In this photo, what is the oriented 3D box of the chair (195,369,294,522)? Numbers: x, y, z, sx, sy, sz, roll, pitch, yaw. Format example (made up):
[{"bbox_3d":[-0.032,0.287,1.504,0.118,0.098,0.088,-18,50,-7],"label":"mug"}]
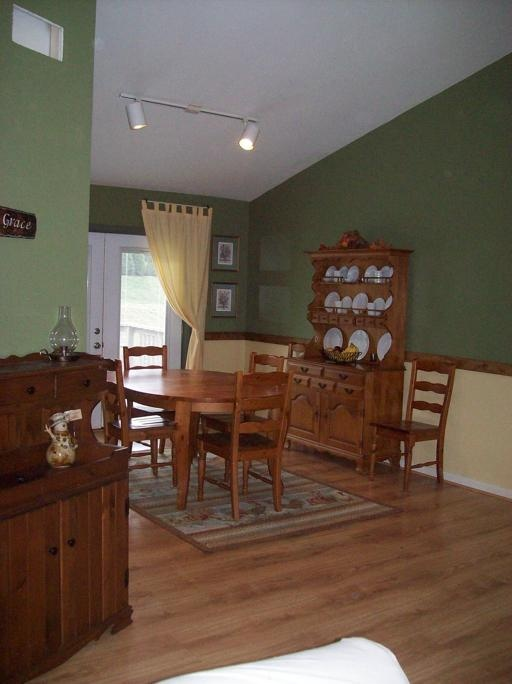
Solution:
[{"bbox_3d":[-0.080,0.654,3.866,0.669,0.971,1.438,2,1,-4],"label":"chair"}]

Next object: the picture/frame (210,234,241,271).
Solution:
[{"bbox_3d":[-0.399,-1.133,6.576,0.512,0.525,0.045,-2,2,-40],"label":"picture/frame"}]

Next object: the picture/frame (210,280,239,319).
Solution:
[{"bbox_3d":[-0.413,-0.553,6.619,0.510,0.564,0.045,-2,7,-41],"label":"picture/frame"}]

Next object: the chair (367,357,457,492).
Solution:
[{"bbox_3d":[1.331,0.639,4.399,0.642,0.759,0.762,4,2,40],"label":"chair"}]

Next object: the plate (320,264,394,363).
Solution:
[{"bbox_3d":[0.971,-0.288,4.977,0.160,1.047,0.961,1,2,-34],"label":"plate"}]
